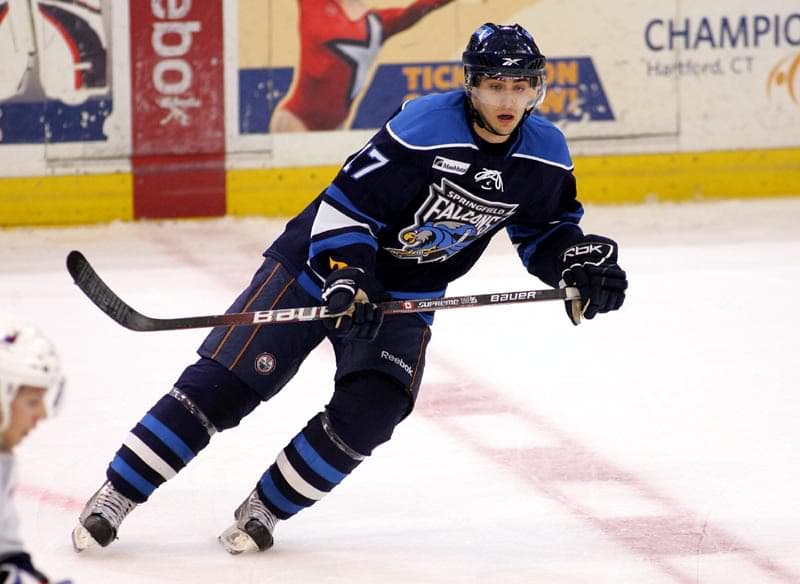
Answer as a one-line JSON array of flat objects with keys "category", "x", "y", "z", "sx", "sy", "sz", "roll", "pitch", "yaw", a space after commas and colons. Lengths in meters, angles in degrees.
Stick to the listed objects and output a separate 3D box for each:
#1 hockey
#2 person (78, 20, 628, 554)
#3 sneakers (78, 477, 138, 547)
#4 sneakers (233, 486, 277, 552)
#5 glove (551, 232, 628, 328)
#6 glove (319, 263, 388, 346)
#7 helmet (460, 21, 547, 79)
[{"category": "hockey", "x": -0.177, "y": 0.024, "z": 3.354, "sx": 1.709, "sy": 0.310, "sz": 0.150, "roll": -3, "pitch": -16, "yaw": -7}, {"category": "person", "x": -0.118, "y": -0.030, "z": 3.309, "sx": 1.601, "sy": 1.619, "sz": 0.460, "roll": 1, "pitch": 11, "yaw": -18}, {"category": "sneakers", "x": -0.903, "y": 0.664, "z": 3.246, "sx": 0.085, "sy": 0.122, "sz": 0.255, "roll": 47, "pitch": 2, "yaw": -10}, {"category": "sneakers", "x": -0.440, "y": 0.680, "z": 3.230, "sx": 0.126, "sy": 0.167, "sz": 0.162, "roll": 3, "pitch": 10, "yaw": -8}, {"category": "glove", "x": 0.608, "y": -0.033, "z": 3.384, "sx": 0.214, "sy": 0.263, "sz": 0.132, "roll": -2, "pitch": -9, "yaw": -12}, {"category": "glove", "x": -0.139, "y": 0.038, "z": 3.150, "sx": 0.190, "sy": 0.210, "sz": 0.105, "roll": -9, "pitch": -3, "yaw": -25}, {"category": "helmet", "x": 0.318, "y": -0.703, "z": 3.324, "sx": 0.261, "sy": 0.254, "sz": 0.277, "roll": 1, "pitch": 6, "yaw": 1}]
